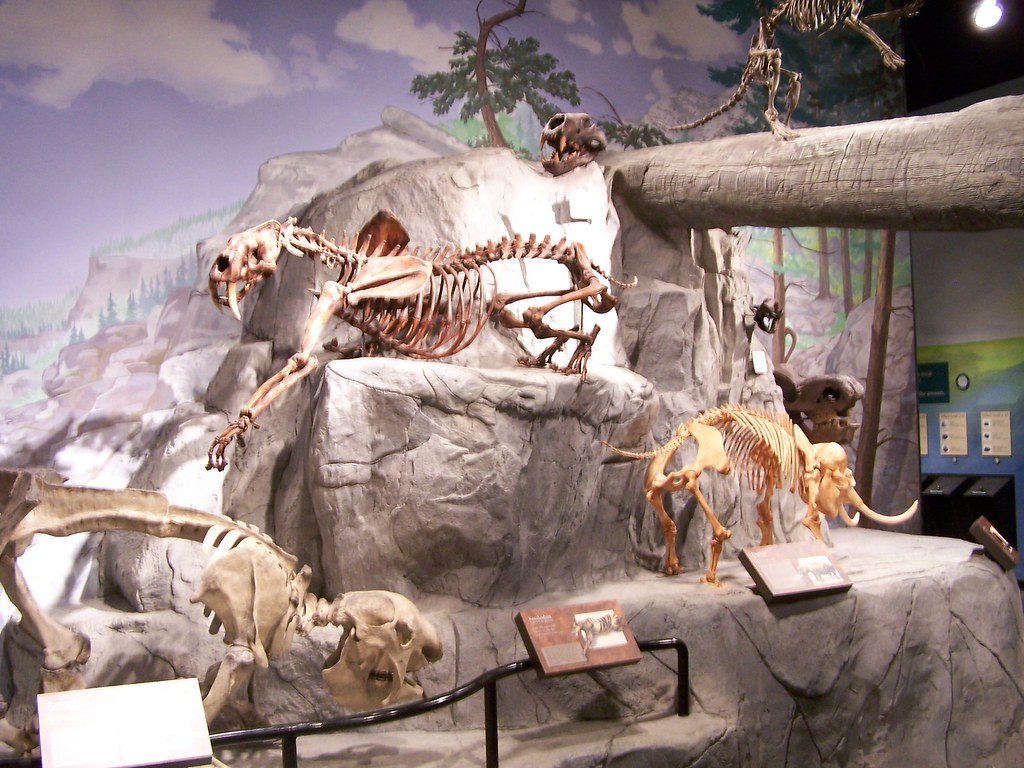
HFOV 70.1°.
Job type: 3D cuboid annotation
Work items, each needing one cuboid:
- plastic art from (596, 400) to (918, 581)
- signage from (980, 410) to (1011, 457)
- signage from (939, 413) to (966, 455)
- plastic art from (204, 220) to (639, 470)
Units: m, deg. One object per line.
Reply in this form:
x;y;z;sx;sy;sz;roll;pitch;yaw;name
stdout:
1.598;0.540;4.939;2.343;1.405;0.887;-4;1;-10;plastic art
4.282;0.442;6.453;0.046;0.293;0.260;-1;-4;-24;signage
4.097;0.465;6.765;0.047;0.498;0.322;5;-7;-24;signage
-0.541;-0.191;4.128;1.896;1.213;0.631;-19;25;-13;plastic art
